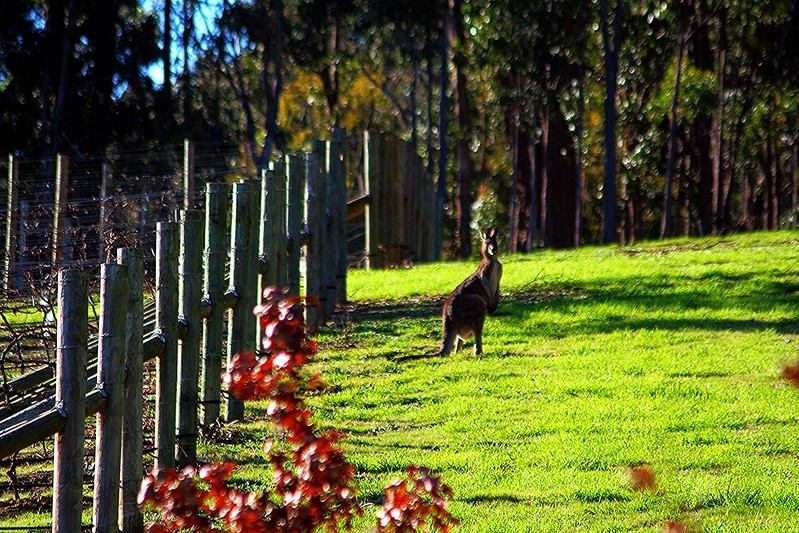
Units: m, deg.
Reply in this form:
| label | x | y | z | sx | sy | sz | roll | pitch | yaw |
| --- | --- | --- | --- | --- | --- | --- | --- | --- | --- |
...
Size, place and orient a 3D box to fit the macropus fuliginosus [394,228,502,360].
| label | x | y | z | sx | sy | sz | roll | pitch | yaw |
| --- | --- | --- | --- | --- | --- | --- | --- | --- | --- |
| macropus fuliginosus | 1.813 | 0.577 | 46.761 | 1.498 | 3.164 | 1.118 | 1 | -3 | -43 |
